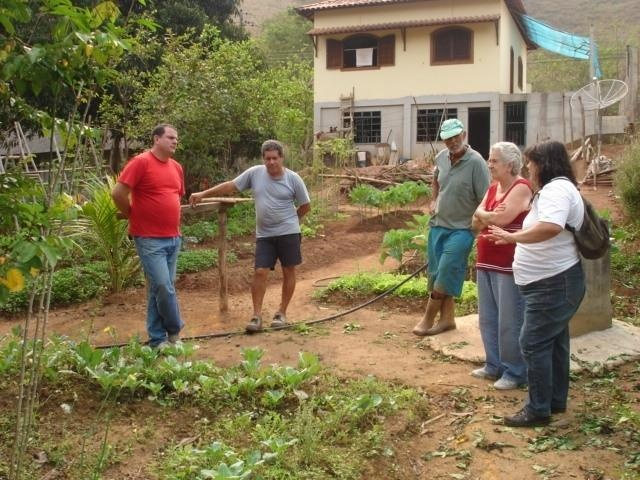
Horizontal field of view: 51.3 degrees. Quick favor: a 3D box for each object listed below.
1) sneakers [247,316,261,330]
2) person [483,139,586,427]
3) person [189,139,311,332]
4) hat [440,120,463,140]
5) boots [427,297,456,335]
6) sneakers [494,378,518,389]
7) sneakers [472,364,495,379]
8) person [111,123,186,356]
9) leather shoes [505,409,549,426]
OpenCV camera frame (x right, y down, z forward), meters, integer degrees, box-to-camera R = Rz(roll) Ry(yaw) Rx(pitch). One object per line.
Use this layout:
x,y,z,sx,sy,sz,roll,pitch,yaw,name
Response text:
-0.773,0.996,7.878,0.157,0.152,0.294,3,11,6,sneakers
1.913,0.381,5.771,0.726,2.435,0.496,3,10,7,person
-0.687,-0.029,8.094,1.078,2.335,0.851,1,10,-1,person
1.440,-1.207,7.215,0.220,0.159,0.295,-17,6,35,hat
1.398,0.884,7.729,0.370,0.364,0.163,-11,19,-17,boots
1.786,1.371,6.399,0.183,0.080,0.107,3,0,10,sneakers
1.638,1.312,6.675,0.184,0.084,0.112,9,10,25,sneakers
-1.752,-0.042,7.003,0.690,2.280,0.572,-3,11,-26,person
1.782,1.555,5.844,0.390,0.190,0.145,2,0,8,leather shoes
